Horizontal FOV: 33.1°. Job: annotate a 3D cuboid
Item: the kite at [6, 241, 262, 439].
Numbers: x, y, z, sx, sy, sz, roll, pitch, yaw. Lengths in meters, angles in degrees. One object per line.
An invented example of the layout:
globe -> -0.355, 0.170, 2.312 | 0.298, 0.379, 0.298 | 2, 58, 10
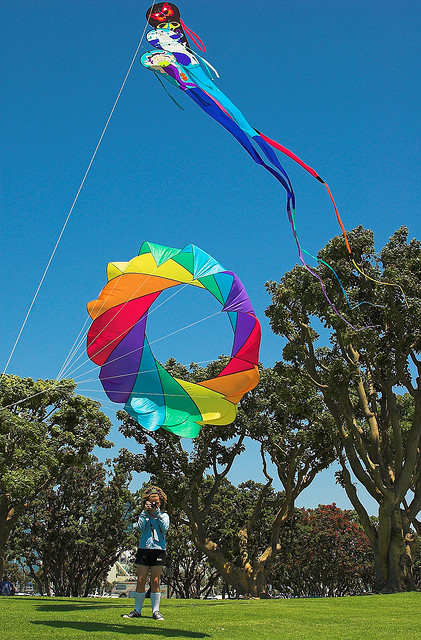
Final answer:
kite -> -0.609, 1.024, 18.136 | 6.985, 4.592, 1.729 | -36, 31, -22

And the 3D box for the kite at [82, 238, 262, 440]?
kite -> -1.210, 0.318, 18.741 | 5.001, 5.156, 1.560 | -5, 4, -16

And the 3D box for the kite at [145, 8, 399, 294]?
kite -> 0.964, -2.624, 15.947 | 1.053, 7.535, 1.297 | -32, -18, -44

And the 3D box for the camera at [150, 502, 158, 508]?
camera -> -0.941, 3.097, 11.857 | 0.094, 0.088, 0.049 | 5, -20, -4
